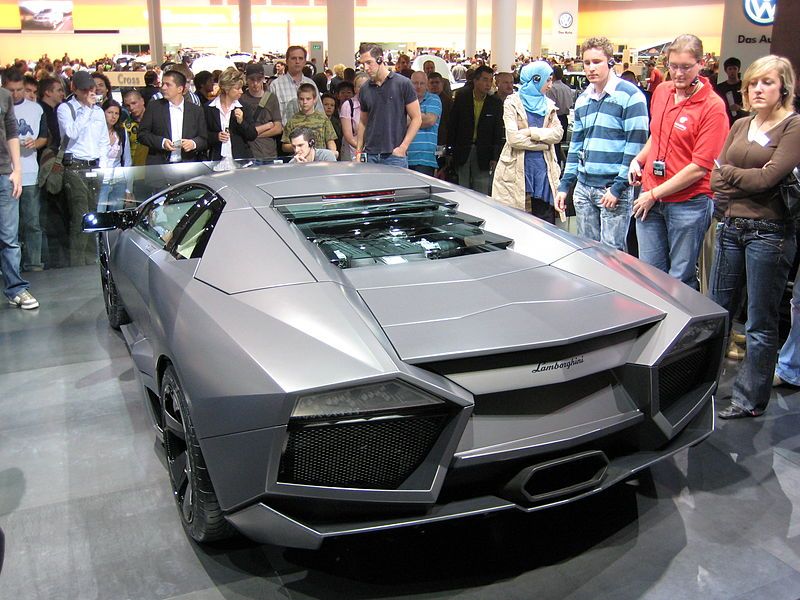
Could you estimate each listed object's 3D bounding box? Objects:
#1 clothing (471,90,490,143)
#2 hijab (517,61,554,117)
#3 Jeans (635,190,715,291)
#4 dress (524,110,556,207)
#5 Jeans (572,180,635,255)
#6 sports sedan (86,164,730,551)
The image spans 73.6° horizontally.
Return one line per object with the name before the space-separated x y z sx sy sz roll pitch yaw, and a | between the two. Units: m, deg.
clothing | 1.099 -2.575 7.364 0.246 0.537 0.130 3 -3 6
hijab | 1.360 -2.139 5.434 0.359 0.532 0.485 2 21 10
Jeans | 1.995 -0.388 3.960 0.299 0.936 0.470 -17 19 -36
dress | 1.472 -1.422 5.618 0.399 1.107 0.335 1 50 10
Jeans | 1.709 -0.722 4.538 0.448 0.952 0.313 18 59 33
sports sedan | -0.579 -0.181 3.980 2.845 1.325 4.734 -4 18 -28
